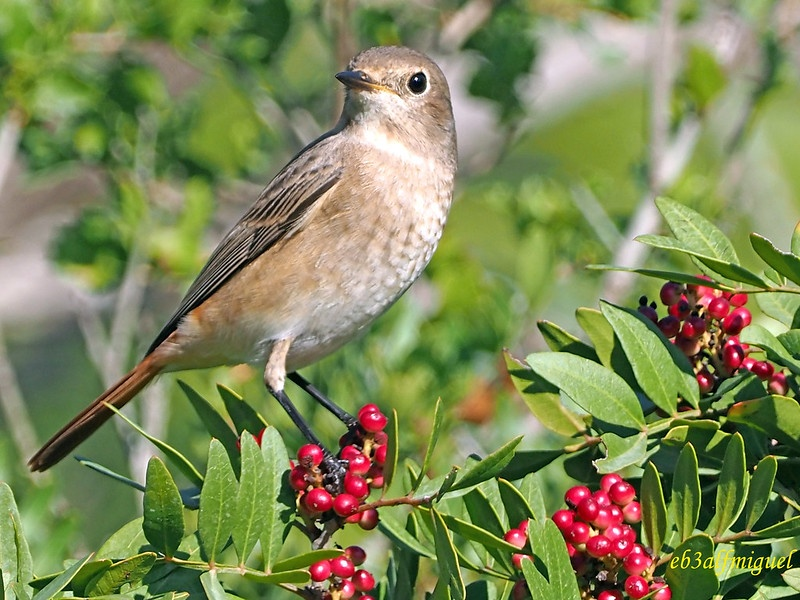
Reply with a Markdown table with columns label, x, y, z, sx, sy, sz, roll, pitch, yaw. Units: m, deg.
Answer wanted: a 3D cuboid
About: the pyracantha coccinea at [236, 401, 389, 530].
| label | x | y | z | sx | sy | sz | roll | pitch | yaw |
| --- | --- | --- | --- | --- | --- | --- | --- | --- | --- |
| pyracantha coccinea | -0.182 | 0.588 | 3.548 | 0.355 | 0.383 | 0.290 | -16 | -21 | -4 |
